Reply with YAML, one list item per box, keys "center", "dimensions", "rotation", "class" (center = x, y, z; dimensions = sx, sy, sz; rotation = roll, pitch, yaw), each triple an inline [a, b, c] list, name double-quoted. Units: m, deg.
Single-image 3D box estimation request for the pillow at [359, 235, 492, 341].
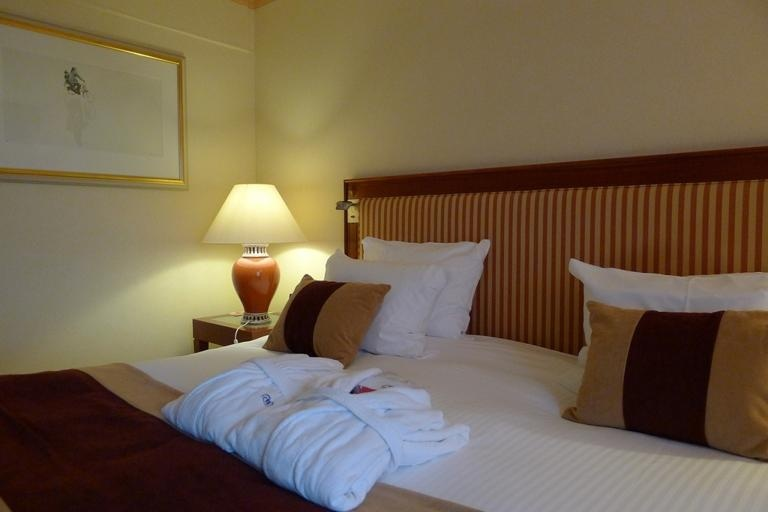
- center: [0.351, 0.197, 3.041]
  dimensions: [0.599, 0.601, 0.181]
  rotation: [-3, -21, 28]
  class: "pillow"
